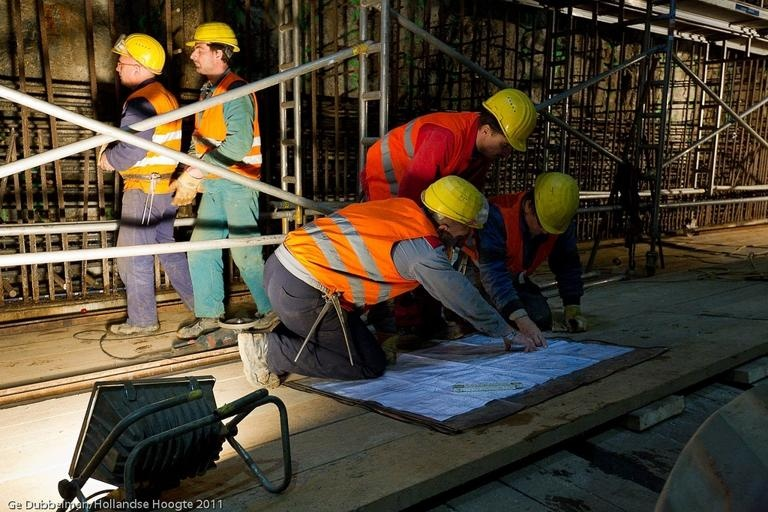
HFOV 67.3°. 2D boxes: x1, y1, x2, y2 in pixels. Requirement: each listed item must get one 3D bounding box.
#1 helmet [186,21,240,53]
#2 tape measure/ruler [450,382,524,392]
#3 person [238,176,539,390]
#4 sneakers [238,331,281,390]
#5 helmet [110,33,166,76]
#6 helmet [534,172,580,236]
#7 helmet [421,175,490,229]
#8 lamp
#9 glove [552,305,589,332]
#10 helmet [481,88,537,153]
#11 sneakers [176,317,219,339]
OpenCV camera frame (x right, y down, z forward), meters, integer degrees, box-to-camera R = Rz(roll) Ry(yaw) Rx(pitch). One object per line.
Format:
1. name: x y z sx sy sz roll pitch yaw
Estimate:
1. helmet: -1.310 -1.655 4.456 0.374 0.136 0.239 3 11 -13
2. tape measure/ruler: 0.633 0.805 3.558 0.299 0.025 0.051 -3 7 -2
3. person: -0.104 0.174 3.681 1.687 1.260 0.424 -5 10 8
4. sneakers: -0.782 0.654 3.652 0.307 0.320 0.109 3 -5 -26
5. helmet: -1.825 -1.501 4.383 0.399 0.198 0.290 22 23 -26
6. helmet: 1.269 -0.399 4.406 0.385 0.413 0.250 0 3 -10
7. helmet: 0.467 -0.296 3.655 0.416 0.184 0.285 23 43 -3
8. lamp: -1.013 0.836 2.646 0.840 0.417 0.786 1 1 -44
9. glove: 1.512 0.513 4.727 0.252 0.099 0.276 2 16 11
10. helmet: 0.950 -0.996 4.248 0.390 0.459 0.252 -13 11 -34
11. sneakers: -1.476 0.569 4.585 0.292 0.081 0.177 -4 11 -22
